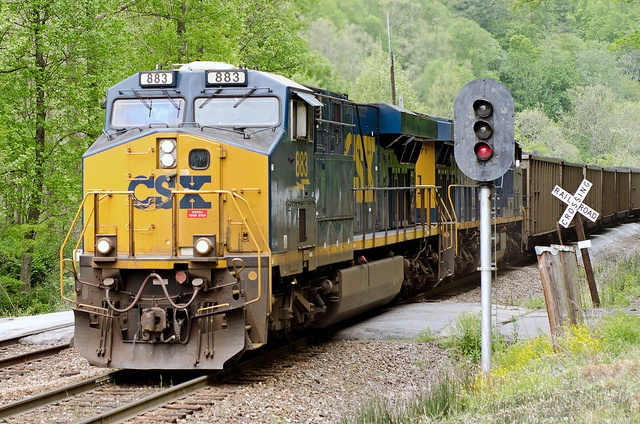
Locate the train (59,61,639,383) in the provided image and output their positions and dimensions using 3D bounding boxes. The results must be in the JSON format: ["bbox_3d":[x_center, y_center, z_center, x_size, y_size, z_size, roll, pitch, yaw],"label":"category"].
[{"bbox_3d":[3.047,-0.319,20.491,5.457,6.710,25.249,1,1,30],"label":"train"}]

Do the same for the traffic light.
[{"bbox_3d":[2.451,-1.211,8.313,0.869,1.525,0.248,-1,3,17],"label":"traffic light"}]
